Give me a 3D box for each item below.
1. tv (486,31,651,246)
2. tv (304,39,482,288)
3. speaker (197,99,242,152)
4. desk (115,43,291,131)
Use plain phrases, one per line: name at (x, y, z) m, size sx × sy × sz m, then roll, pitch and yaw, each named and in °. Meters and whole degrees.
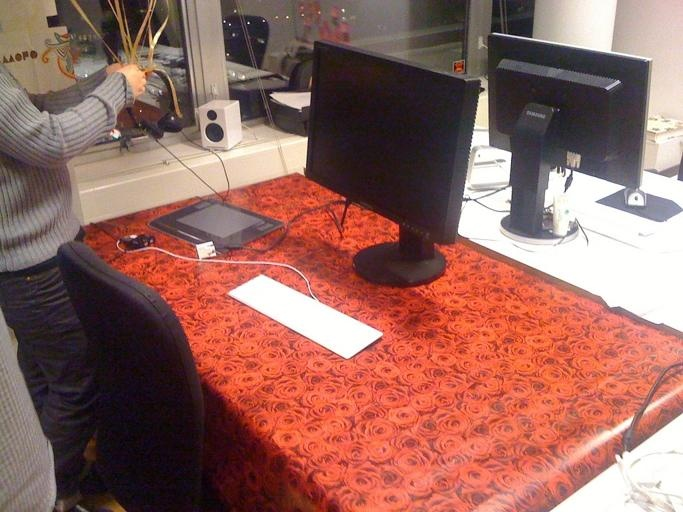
tv at (0.797, -0.390, 1.781) m, size 0.281 × 0.701 × 0.680 m, roll -29°, pitch 40°, yaw -29°
tv at (0.146, -0.253, 1.590) m, size 0.303 × 0.715 × 0.724 m, roll -23°, pitch 43°, yaw -28°
speaker at (-0.608, -0.695, 2.581) m, size 0.174 × 0.208 × 0.260 m, roll 13°, pitch 37°, yaw 20°
desk at (-0.719, -0.866, 2.517) m, size 0.581 × 0.283 × 0.372 m, roll -27°, pitch 54°, yaw -27°
